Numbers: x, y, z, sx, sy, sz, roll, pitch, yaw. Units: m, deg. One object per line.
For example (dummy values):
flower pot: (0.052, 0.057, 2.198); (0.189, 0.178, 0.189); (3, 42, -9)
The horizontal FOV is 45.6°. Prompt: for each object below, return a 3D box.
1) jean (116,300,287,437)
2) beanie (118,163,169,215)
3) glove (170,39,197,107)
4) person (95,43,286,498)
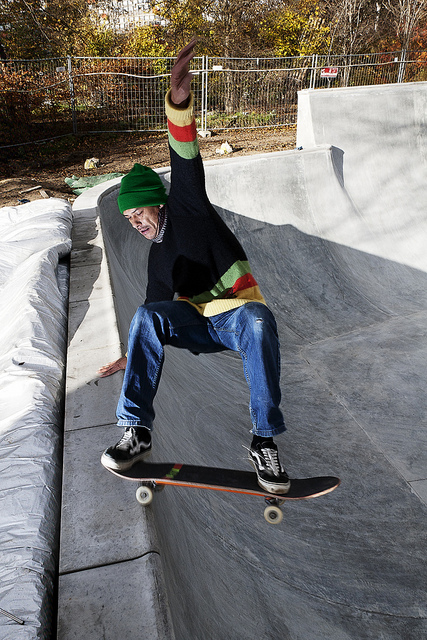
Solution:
jean: (-0.093, 0.283, 2.738); (0.973, 0.548, 0.841); (-1, 61, 7)
beanie: (-0.348, -0.641, 2.465); (0.264, 0.245, 0.195); (-18, 5, -14)
glove: (-0.127, -0.974, 2.048); (0.095, 0.213, 0.111); (-8, 24, -9)
person: (-0.121, -0.223, 2.237); (0.778, 1.762, 1.032); (-6, 24, -5)
